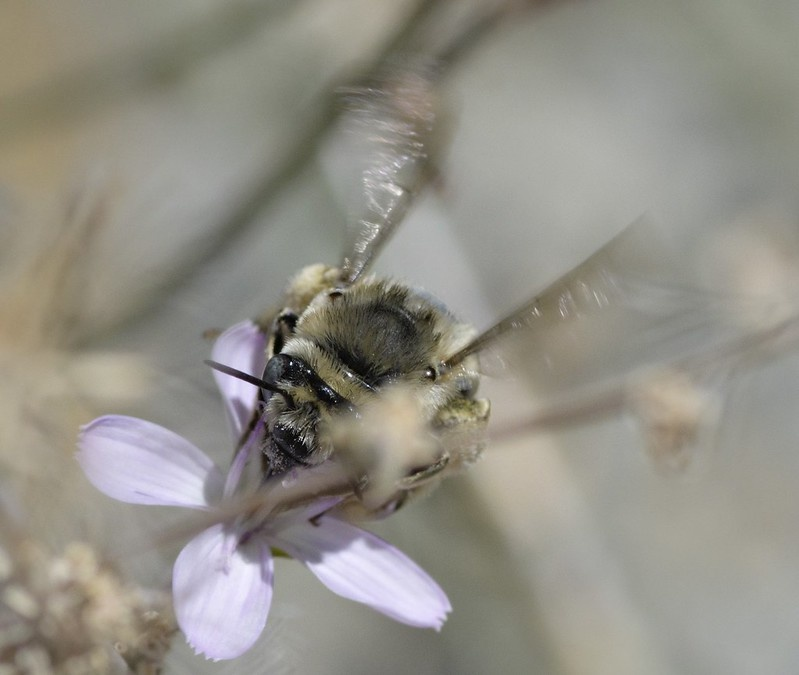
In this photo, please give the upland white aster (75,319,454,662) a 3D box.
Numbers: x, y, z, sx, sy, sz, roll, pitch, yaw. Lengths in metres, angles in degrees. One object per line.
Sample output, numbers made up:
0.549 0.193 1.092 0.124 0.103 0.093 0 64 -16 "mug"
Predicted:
-0.122 0.174 0.883 0.196 0.153 0.348 -37 85 -7 "upland white aster"
